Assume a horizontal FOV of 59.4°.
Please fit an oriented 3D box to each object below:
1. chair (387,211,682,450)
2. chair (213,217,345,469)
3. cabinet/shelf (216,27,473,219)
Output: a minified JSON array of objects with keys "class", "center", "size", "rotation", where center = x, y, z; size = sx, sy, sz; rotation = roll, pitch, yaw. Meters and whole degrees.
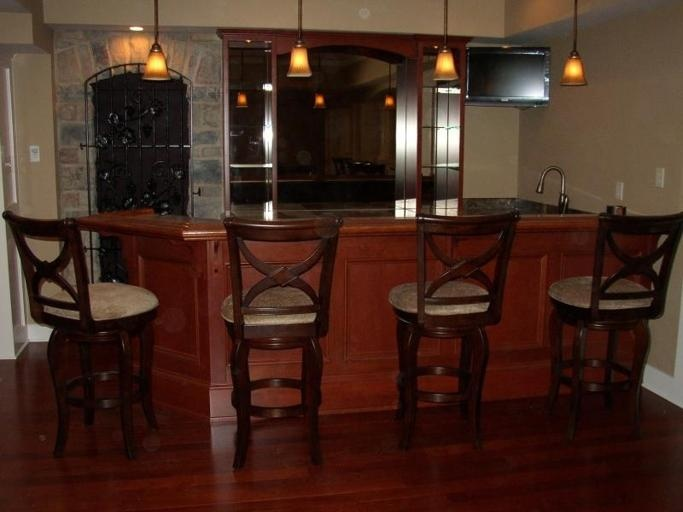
[{"class":"chair","center":[1.101,0.457,3.572],"size":[1.129,1.117,0.521],"rotation":[-3,15,-11]},{"class":"chair","center":[-0.309,0.410,3.363],"size":[0.690,1.368,0.759],"rotation":[-3,11,-7]},{"class":"cabinet/shelf","center":[0.019,-1.352,5.882],"size":[2.013,2.048,0.684],"rotation":[-1,8,-7]}]
